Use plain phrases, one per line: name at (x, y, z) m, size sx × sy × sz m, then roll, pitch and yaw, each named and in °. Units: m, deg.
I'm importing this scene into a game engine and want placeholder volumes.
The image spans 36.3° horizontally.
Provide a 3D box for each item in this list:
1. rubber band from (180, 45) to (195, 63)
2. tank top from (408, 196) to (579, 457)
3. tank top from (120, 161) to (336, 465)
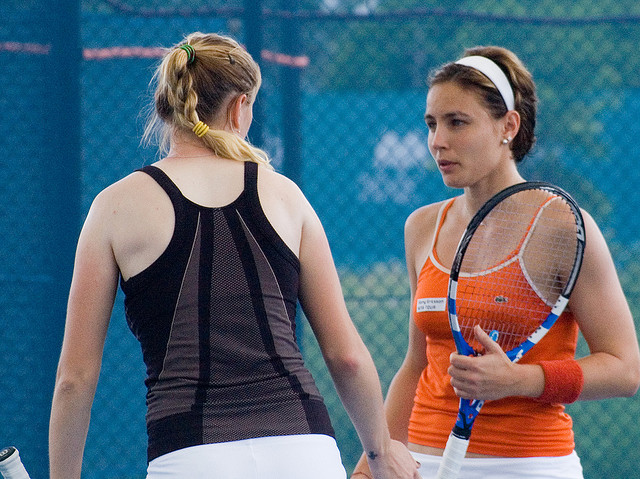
rubber band at (-0.476, -0.626, 3.492) m, size 0.037 × 0.059 × 0.043 m, roll -15°, pitch 15°, yaw -39°
tank top at (0.689, 0.347, 3.769) m, size 0.744 × 1.072 × 0.549 m, roll -8°, pitch -14°, yaw 38°
tank top at (-0.346, 0.232, 3.391) m, size 0.662 × 0.945 × 0.373 m, roll -8°, pitch 12°, yaw -14°
